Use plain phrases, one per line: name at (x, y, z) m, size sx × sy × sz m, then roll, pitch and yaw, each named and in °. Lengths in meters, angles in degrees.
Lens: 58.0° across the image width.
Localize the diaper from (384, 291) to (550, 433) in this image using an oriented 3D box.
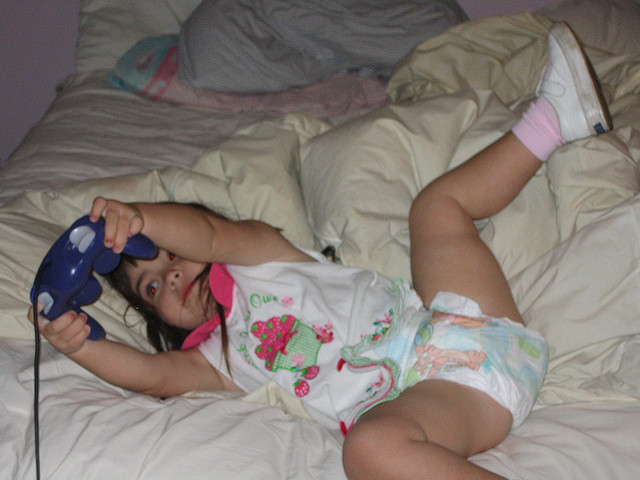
diaper at (0.321, 0.242, 1.288) m, size 0.322 × 0.115 × 0.268 m, roll 24°, pitch 78°, yaw 17°

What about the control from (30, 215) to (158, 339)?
control at (-0.474, 0.070, 1.257) m, size 0.265 × 0.223 × 0.088 m, roll -54°, pitch 21°, yaw 5°
